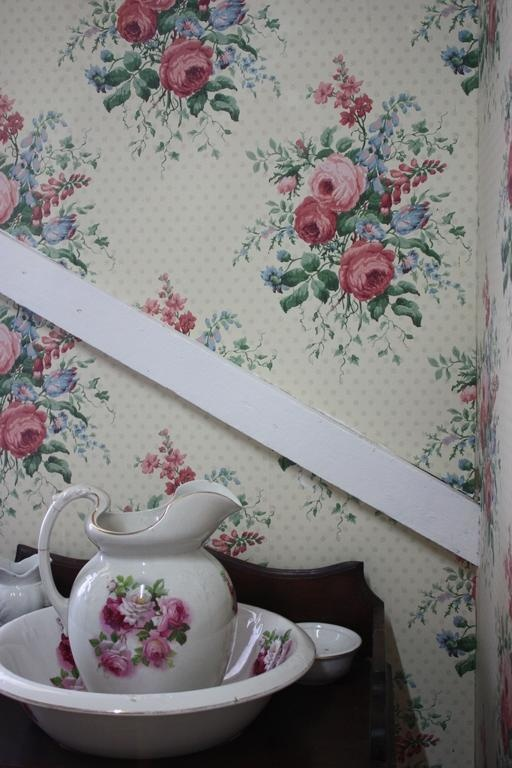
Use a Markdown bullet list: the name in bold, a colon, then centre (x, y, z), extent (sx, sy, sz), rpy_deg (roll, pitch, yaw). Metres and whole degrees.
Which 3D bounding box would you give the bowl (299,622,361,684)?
- **bowl**: centre (0.100, 0.375, 1.138), extent (0.091, 0.039, 0.090), rpy_deg (-2, 2, 0)

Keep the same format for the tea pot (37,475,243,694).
- **tea pot**: centre (-0.146, 0.261, 0.974), extent (0.230, 0.190, 0.247), rpy_deg (0, 86, -1)
